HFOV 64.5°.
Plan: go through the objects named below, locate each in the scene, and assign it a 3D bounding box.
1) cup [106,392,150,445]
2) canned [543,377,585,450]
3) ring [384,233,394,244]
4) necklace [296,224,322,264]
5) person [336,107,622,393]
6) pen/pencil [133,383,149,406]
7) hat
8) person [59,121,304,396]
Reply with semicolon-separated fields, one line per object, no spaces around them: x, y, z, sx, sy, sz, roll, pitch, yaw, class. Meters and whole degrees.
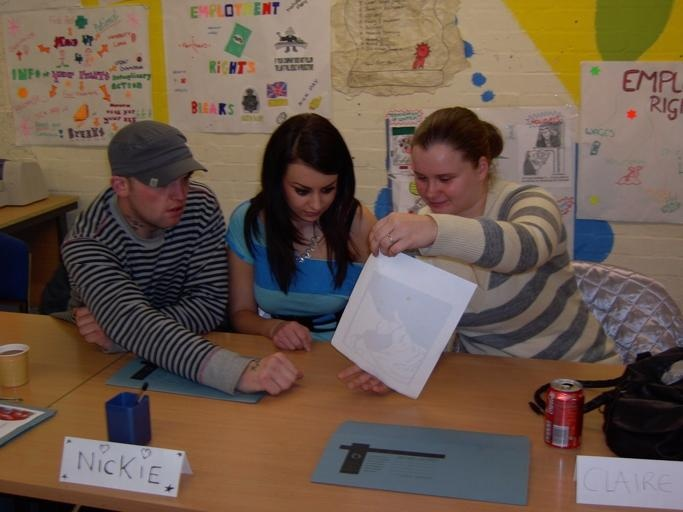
-0.512;0.399;1.292;0.100;0.129;0.092;0;15;0;cup
0.540;0.369;1.308;0.093;0.159;0.126;6;16;22;canned
0.118;-0.043;1.378;0.019;0.024;0.008;-13;-6;43;ring
-0.120;-0.038;2.050;0.062;0.172;0.030;23;-7;15;necklace
0.424;0.053;1.838;0.808;1.066;0.709;-12;16;-21;person
-0.516;0.356;1.384;0.021;0.105;0.022;38;44;1;pen/pencil
-0.627;-0.359;1.813;0.356;0.173;0.265;11;26;28;hat
-0.553;-0.002;1.711;0.527;0.786;1.091;-3;17;-31;person
